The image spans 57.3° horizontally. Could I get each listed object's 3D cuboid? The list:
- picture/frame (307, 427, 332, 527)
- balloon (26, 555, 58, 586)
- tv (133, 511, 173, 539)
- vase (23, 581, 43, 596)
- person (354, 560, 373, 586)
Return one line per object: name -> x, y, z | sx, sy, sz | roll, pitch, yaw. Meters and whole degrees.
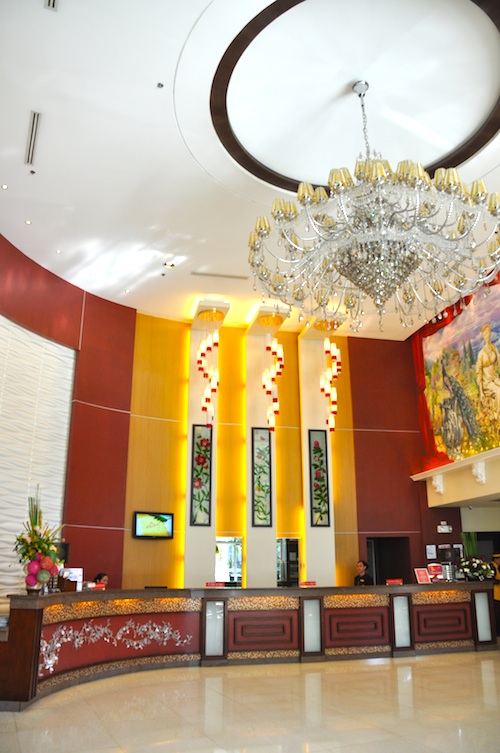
picture/frame -> 1.431, 2.122, 9.574 | 0.490, 1.973, 0.084 | 2, -15, -15
balloon -> -1.955, 1.814, 4.268 | 0.276, 0.273, 0.178 | 5, -16, -25
tv -> -1.842, 2.781, 8.522 | 0.553, 0.379, 0.057 | 9, -22, -32
vase -> -1.988, 1.910, 4.212 | 0.137, 0.169, 0.132 | 2, -15, -15
person -> 2.041, 3.535, 8.264 | 0.298, 0.375, 1.261 | -6, -15, 12
